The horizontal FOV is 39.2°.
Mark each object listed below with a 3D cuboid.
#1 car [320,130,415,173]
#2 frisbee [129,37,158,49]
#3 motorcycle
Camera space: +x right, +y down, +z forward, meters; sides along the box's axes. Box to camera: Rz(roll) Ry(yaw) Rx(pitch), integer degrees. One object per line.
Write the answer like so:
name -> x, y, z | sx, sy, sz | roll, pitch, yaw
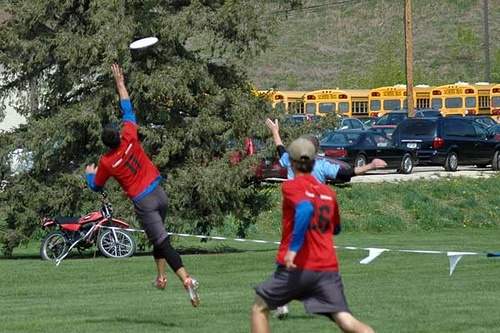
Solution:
car -> 4.668, -0.561, 27.253 | 4.064, 1.485, 1.747 | -2, 3, -36
frisbee -> -2.174, -2.476, 14.054 | 0.379, 0.092, 0.412 | -2, 20, 25
motorcycle -> -3.629, 1.253, 15.645 | 2.750, 1.773, 0.979 | 0, -1, -8
